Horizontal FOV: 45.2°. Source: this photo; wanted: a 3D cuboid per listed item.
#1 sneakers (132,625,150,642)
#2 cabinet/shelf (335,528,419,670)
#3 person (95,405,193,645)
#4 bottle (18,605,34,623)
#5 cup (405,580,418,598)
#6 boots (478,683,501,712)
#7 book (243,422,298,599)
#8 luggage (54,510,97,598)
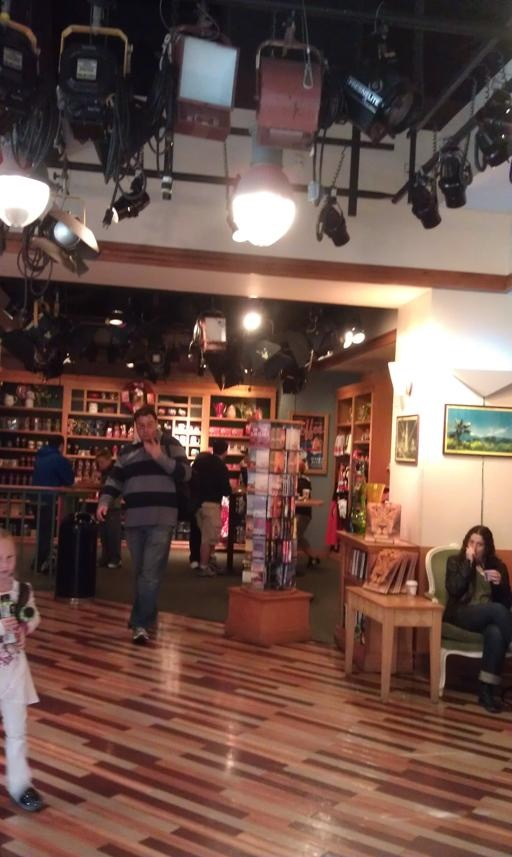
[{"bbox_3d":[-0.849,1.523,4.569,0.117,0.099,0.135,5,-6,-1],"label":"sneakers"},{"bbox_3d":[0.865,1.193,4.286,0.304,0.885,0.911,1,-2,-3],"label":"cabinet/shelf"},{"bbox_3d":[-0.872,0.700,4.625,0.636,1.743,0.569,7,-7,-23],"label":"person"},{"bbox_3d":[-0.746,0.605,2.000,0.014,0.042,0.043,47,-7,44],"label":"bottle"},{"bbox_3d":[0.992,1.032,3.980,0.095,0.110,0.096,-1,1,0],"label":"cup"},{"bbox_3d":[1.426,1.621,3.745,0.134,0.137,0.225,2,-7,21],"label":"boots"},{"bbox_3d":[0.129,0.614,5.020,0.436,1.345,0.272,4,-6,2],"label":"book"},{"bbox_3d":[-1.682,1.194,5.786,0.375,0.822,0.348,6,-6,-15],"label":"luggage"}]
